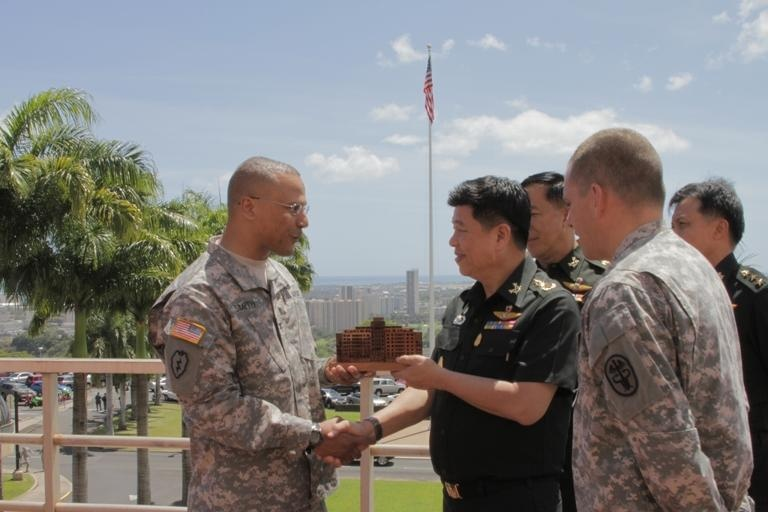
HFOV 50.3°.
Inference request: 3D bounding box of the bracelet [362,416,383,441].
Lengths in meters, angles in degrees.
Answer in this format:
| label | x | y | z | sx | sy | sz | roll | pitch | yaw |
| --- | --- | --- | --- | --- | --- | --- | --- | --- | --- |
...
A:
| label | x | y | z | sx | sy | sz | roll | pitch | yaw |
| --- | --- | --- | --- | --- | --- | --- | --- | --- | --- |
| bracelet | -0.101 | 1.520 | 7.232 | 0.117 | 0.188 | 0.190 | 0 | -39 | -7 |
